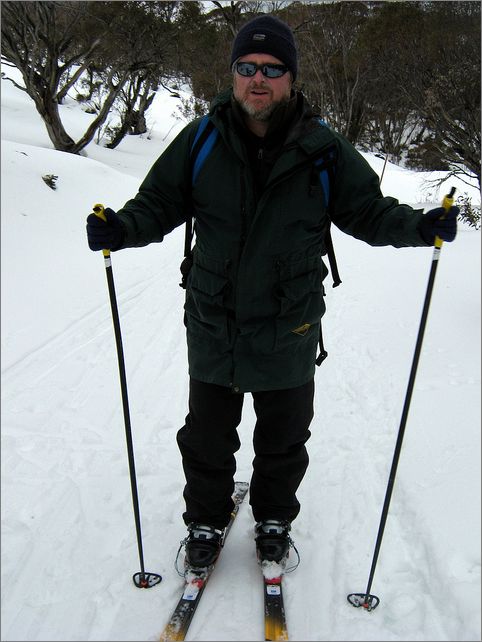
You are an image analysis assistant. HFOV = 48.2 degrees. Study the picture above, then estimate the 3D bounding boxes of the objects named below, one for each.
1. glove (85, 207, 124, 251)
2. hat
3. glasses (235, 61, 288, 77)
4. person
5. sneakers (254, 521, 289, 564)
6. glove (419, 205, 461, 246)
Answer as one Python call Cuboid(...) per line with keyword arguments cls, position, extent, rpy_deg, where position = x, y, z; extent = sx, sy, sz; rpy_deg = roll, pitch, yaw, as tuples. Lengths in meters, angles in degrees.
Cuboid(cls="glove", position=(-0.441, -0.291, 1.731), extent=(0.108, 0.145, 0.049), rpy_deg=(-9, 5, -32))
Cuboid(cls="hat", position=(0.083, -0.934, 1.948), extent=(0.218, 0.202, 0.228), rpy_deg=(9, 5, 2))
Cuboid(cls="glasses", position=(0.071, -0.853, 1.818), extent=(0.172, 0.057, 0.068), rpy_deg=(3, 17, 4))
Cuboid(cls="person", position=(0.046, -0.048, 1.967), extent=(1.115, 1.998, 0.462), rpy_deg=(0, 17, -5))
Cuboid(cls="sneakers", position=(0.112, 0.846, 2.066), extent=(0.116, 0.126, 0.152), rpy_deg=(2, 20, -1))
Cuboid(cls="glove", position=(0.643, -0.306, 1.728), extent=(0.072, 0.137, 0.146), rpy_deg=(-9, 20, -31))
